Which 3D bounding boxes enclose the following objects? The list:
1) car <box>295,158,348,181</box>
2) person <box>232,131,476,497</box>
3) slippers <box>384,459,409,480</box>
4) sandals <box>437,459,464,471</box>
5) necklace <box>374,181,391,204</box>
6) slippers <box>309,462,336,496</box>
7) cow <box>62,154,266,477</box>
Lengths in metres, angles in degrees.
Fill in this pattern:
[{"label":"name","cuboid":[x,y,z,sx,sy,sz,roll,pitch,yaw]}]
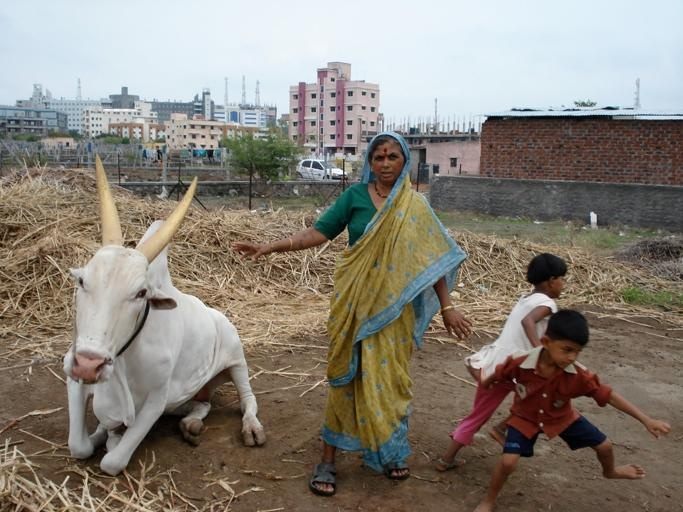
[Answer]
[{"label":"car","cuboid":[-1.003,-4.108,30.466,2.620,1.257,1.553,3,12,26]},{"label":"person","cuboid":[0.259,0.338,4.106,1.152,2.242,0.687,3,13,-2]},{"label":"slippers","cuboid":[0.366,1.422,4.145,0.150,0.114,0.332,-1,-6,2]},{"label":"sandals","cuboid":[0.754,1.440,4.317,0.199,0.061,0.070,13,-13,-42]},{"label":"necklace","cuboid":[0.257,-0.419,4.135,0.093,0.176,0.043,-5,-10,10]},{"label":"slippers","cuboid":[-0.114,1.437,4.061,0.176,0.149,0.205,3,13,-1]},{"label":"cow","cuboid":[-1.176,0.369,4.068,0.710,1.972,1.410,15,18,41]}]
